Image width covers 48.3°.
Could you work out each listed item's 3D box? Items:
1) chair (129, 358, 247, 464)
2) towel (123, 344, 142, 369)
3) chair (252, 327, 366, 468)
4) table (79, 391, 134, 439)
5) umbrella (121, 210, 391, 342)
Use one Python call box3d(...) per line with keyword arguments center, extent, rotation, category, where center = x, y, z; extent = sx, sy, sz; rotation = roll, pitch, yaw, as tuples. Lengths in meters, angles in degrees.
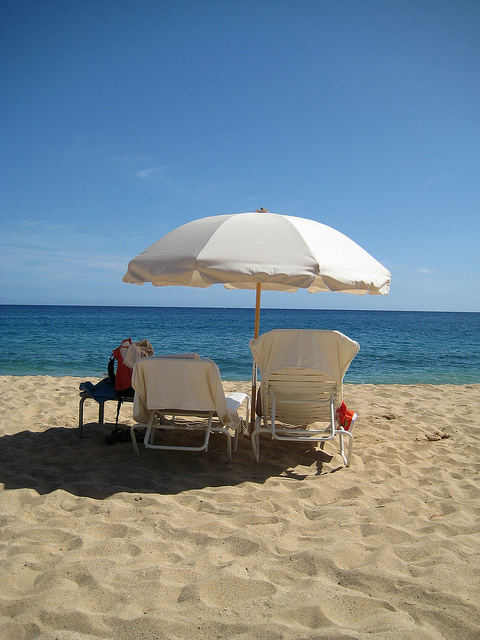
box3d(center=(-0.465, 0.779, 4.931), extent=(1.021, 0.921, 1.375), rotation=(3, 1, 0), category="chair")
box3d(center=(-0.961, 0.322, 4.750), extent=(0.178, 0.224, 0.078), rotation=(8, -7, -2), category="towel")
box3d(center=(0.584, 0.739, 5.109), extent=(0.978, 1.191, 1.438), rotation=(1, -7, 6), category="chair")
box3d(center=(-1.375, 0.946, 5.446), extent=(0.531, 0.585, 0.535), rotation=(7, 10, -15), category="table")
box3d(center=(0.138, -0.593, 4.369), extent=(2.098, 0.668, 1.269), rotation=(4, 1, 10), category="umbrella")
